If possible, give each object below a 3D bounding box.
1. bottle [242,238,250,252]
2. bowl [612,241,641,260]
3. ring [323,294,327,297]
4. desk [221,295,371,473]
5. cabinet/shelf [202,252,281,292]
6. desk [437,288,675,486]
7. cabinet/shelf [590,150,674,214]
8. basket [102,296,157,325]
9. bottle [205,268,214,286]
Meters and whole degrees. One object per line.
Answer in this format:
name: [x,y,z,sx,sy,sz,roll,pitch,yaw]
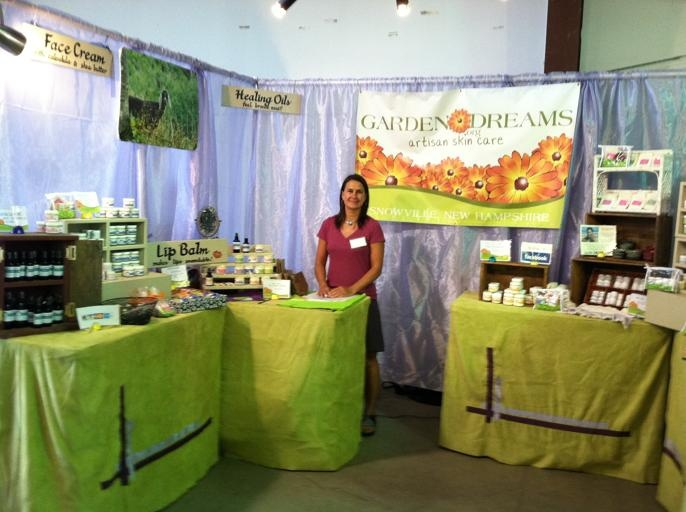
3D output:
bottle: [-0.740,-0.086,3.743,0.069,0.094,0.160,-1,12,-13]
bowl: [1.981,-0.033,3.447,0.141,0.063,0.147,-2,9,0]
ring: [-0.122,0.272,3.427,0.020,0.023,0.014,2,1,-11]
desk: [-0.356,0.806,3.606,0.947,1.083,1.002,4,5,0]
cabinet/shelf: [-0.744,0.120,3.639,0.543,0.279,0.236,0,11,-7]
desk: [1.477,0.822,3.682,1.515,1.185,0.968,6,18,26]
cabinet/shelf: [2.038,-0.515,3.458,0.428,0.508,0.170,3,6,44]
basket: [-1.180,0.303,2.767,0.173,0.052,0.187,8,35,7]
bottle: [-0.970,0.146,3.567,0.068,0.107,0.122,-2,11,-16]
